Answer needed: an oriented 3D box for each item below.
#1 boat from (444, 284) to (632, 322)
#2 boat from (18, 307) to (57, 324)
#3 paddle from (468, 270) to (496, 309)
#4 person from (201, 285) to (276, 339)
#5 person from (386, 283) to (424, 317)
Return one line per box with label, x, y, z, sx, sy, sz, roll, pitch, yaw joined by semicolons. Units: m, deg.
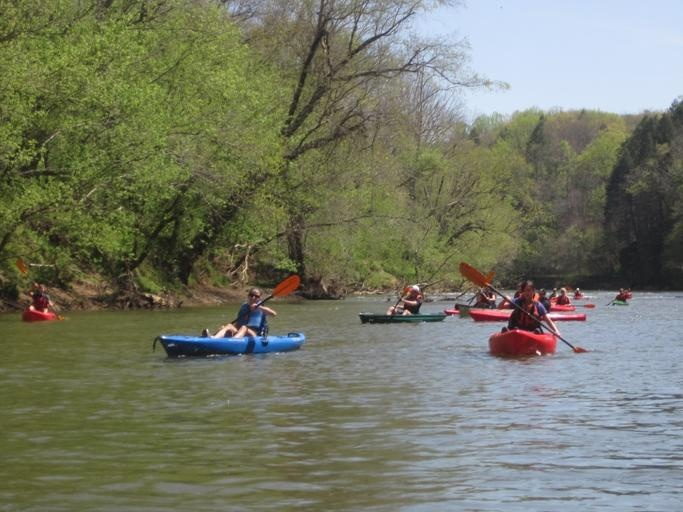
boat;7.713;1.810;41.845;5.599;0.639;1.134;8;-8;-28
boat;-9.704;1.902;33.797;0.517;0.354;0.979;-9;-21;38
paddle;5.387;1.135;39.375;0.936;0.368;3.272;4;-29;8
person;-2.533;1.473;26.553;1.029;1.054;1.827;13;5;42
person;2.152;1.332;35.452;1.221;1.524;0.940;4;27;-7
